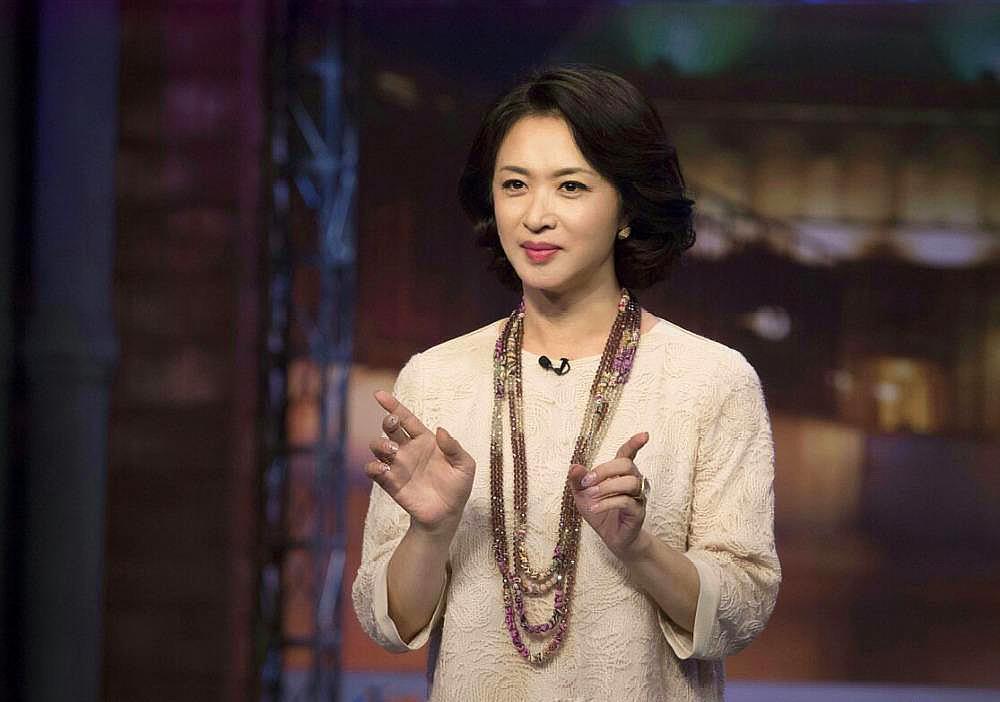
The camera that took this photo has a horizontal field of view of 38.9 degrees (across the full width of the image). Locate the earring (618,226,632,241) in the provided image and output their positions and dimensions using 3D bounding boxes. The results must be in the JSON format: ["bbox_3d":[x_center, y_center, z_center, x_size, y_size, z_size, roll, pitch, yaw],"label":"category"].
[{"bbox_3d":[0.319,-0.298,3.581,0.029,0.030,0.008,-11,40,-26],"label":"earring"}]

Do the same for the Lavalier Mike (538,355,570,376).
[{"bbox_3d":[0.131,0.034,3.503,0.068,0.044,0.033,13,9,26],"label":"Lavalier Mike"}]

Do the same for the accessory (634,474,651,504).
[{"bbox_3d":[0.334,0.314,3.299,0.022,0.062,0.044,23,-37,-9],"label":"accessory"}]
